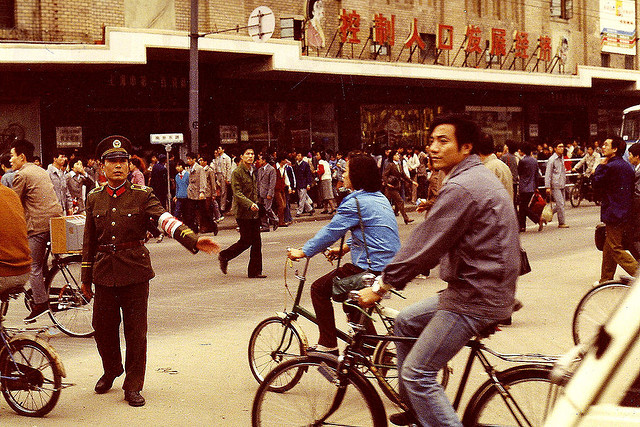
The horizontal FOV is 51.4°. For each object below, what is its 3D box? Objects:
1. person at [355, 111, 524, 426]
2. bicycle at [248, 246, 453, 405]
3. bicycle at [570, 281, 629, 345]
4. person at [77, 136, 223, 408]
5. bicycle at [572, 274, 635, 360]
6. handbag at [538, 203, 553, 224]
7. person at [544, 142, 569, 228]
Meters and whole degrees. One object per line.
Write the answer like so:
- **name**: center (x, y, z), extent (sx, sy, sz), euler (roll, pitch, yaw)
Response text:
- **person**: center (0.813, 0.347, 4.263), extent (0.792, 1.990, 0.494), euler (-3, 6, -24)
- **bicycle**: center (0.179, 0.922, 5.571), extent (2.046, 1.258, 0.821), euler (-6, -10, 40)
- **bicycle**: center (2.746, 0.999, 6.575), extent (0.121, 0.753, 0.582), euler (-4, 7, -37)
- **person**: center (-1.675, 0.491, 6.000), extent (1.160, 2.372, 0.540), euler (5, 8, 40)
- **bicycle**: center (2.719, 1.014, 6.559), extent (0.579, 0.779, 0.404), euler (5, 8, 40)
- **handbag**: center (5.259, -0.001, 15.581), extent (0.304, 0.488, 0.565), euler (2, 6, 19)
- **person**: center (5.983, -0.740, 16.814), extent (0.551, 2.120, 1.469), euler (2, 6, 19)
